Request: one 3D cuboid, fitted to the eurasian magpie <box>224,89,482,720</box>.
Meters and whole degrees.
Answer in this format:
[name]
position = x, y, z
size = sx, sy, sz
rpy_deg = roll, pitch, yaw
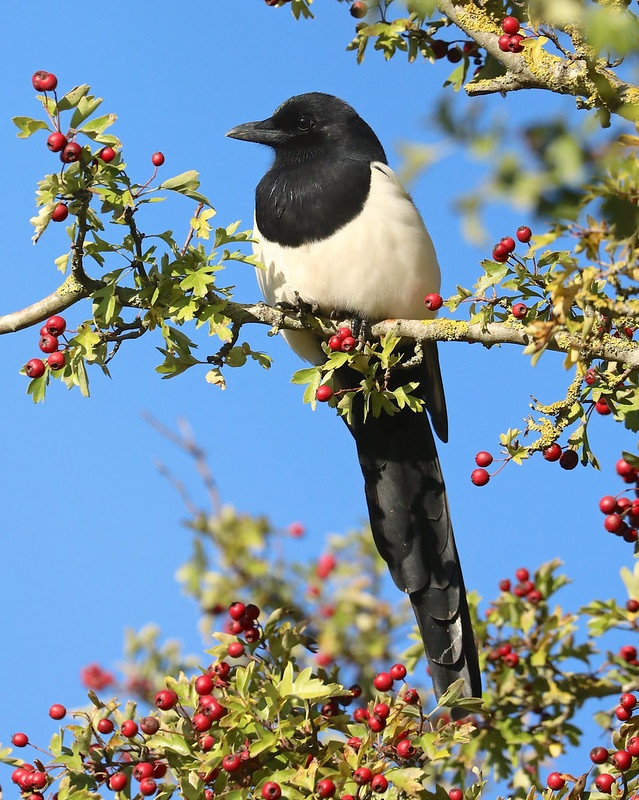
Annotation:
[eurasian magpie]
position = 0.254, 0.160, 7.686
size = 0.775, 3.021, 0.881
rpy_deg = -13, 4, 29
